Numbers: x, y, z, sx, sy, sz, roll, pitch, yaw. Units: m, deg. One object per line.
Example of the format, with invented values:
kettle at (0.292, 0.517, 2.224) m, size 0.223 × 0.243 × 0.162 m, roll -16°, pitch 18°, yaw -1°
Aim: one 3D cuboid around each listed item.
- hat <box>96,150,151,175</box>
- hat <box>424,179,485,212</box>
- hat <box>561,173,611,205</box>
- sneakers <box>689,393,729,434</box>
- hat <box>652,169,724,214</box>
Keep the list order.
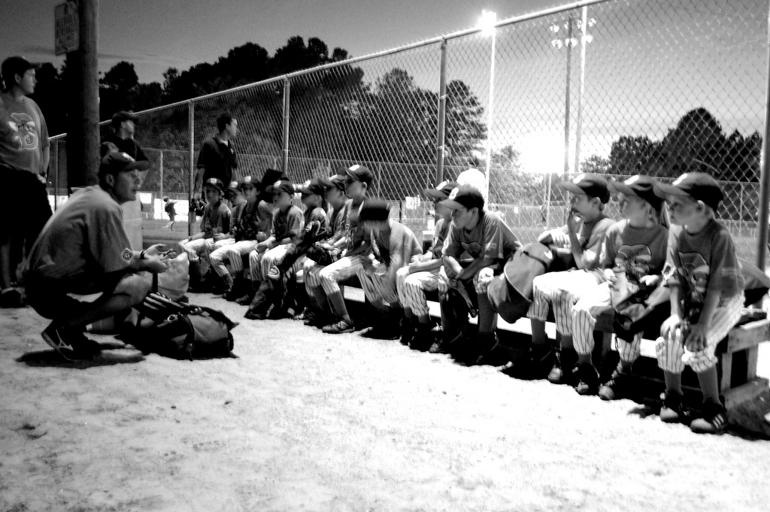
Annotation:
hat at (-2.582, -0.933, 6.469) m, size 0.357 × 0.129 × 0.260 m, roll -7°, pitch 20°, yaw -18°
hat at (0.799, -0.636, 6.954) m, size 0.456 × 0.214 × 0.325 m, roll 7°, pitch 14°, yaw -10°
hat at (2.015, -0.653, 6.530) m, size 0.379 × 0.219 × 0.289 m, roll 19°, pitch 11°, yaw 4°
sneakers at (2.685, 1.337, 5.379) m, size 0.326 × 0.259 × 0.195 m, roll 7°, pitch -12°, yaw -37°
hat at (2.580, -0.529, 5.538) m, size 0.437 × 0.261 × 0.338 m, roll 22°, pitch 8°, yaw 7°
